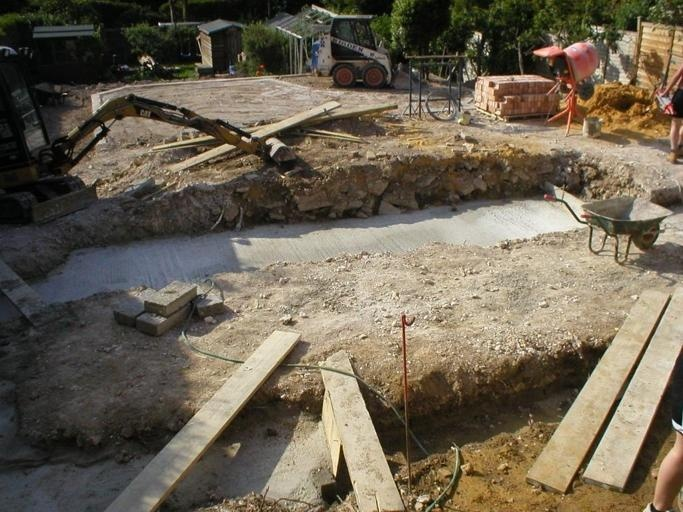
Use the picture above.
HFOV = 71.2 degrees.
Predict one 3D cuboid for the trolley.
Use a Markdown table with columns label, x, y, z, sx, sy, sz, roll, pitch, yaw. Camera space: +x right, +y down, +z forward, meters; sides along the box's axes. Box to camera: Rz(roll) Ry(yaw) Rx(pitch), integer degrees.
| label | x | y | z | sx | sy | sz | roll | pitch | yaw |
| --- | --- | --- | --- | --- | --- | --- | --- | --- | --- |
| trolley | 4.307 | -0.520 | 7.721 | 1.912 | 1.222 | 1.060 | -12 | 18 | -2 |

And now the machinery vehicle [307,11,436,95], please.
| label | x | y | z | sx | sy | sz | roll | pitch | yaw |
| --- | --- | --- | --- | --- | --- | --- | --- | --- | --- |
| machinery vehicle | 0.426 | -7.949 | 18.439 | 3.297 | 3.032 | 2.406 | -2 | 30 | -1 |

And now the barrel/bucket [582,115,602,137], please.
| label | x | y | z | sx | sy | sz | roll | pitch | yaw |
| --- | --- | --- | --- | --- | --- | --- | --- | --- | --- |
| barrel/bucket | 6.313 | -3.291 | 12.043 | 0.480 | 0.468 | 0.461 | -4 | 22 | 2 |
